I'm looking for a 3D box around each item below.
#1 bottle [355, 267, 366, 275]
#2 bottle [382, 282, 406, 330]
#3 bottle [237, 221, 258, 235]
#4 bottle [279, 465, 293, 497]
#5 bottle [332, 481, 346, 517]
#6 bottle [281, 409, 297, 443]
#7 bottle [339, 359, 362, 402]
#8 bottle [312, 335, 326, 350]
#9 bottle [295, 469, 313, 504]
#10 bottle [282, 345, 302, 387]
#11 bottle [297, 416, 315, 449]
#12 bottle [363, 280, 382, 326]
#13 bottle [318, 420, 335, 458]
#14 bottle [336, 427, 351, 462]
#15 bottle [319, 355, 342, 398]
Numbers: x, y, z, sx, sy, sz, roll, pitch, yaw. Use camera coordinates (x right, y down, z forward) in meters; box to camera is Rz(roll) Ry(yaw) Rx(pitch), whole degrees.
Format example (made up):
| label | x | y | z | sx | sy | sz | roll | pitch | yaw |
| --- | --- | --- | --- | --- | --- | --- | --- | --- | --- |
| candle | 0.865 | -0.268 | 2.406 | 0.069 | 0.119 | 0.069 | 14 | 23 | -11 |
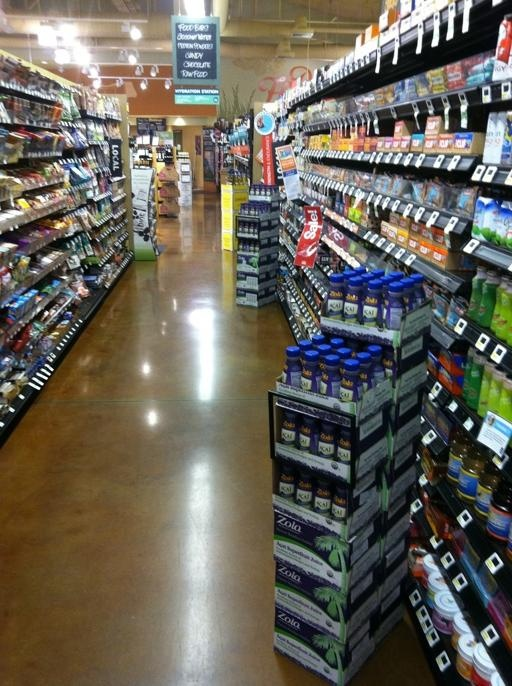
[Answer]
| label | x | y | z | sx | sy | sz | roll | pitch | yaw |
| --- | --- | --- | --- | --- | --- | --- | --- | --- | --- |
| bottle | 0.381 | -0.268 | 1.696 | 0.039 | 0.024 | 0.040 | -6 | 18 | 2 |
| bottle | 0.419 | -0.111 | 1.395 | 0.058 | 0.138 | 0.154 | 5 | 14 | 17 |
| bottle | -0.107 | -1.513 | 6.039 | 0.163 | 0.153 | 0.078 | 4 | 23 | 7 |
| bottle | 0.089 | 0.422 | 1.400 | 0.052 | 0.104 | 0.019 | 6 | 14 | 22 |
| bottle | 0.232 | 0.437 | 1.288 | 0.033 | 0.113 | 0.053 | -1 | 13 | -8 |
| bottle | 0.093 | 0.247 | 1.343 | 0.057 | 0.098 | 0.022 | 11 | 17 | 38 |
| bottle | 0.252 | 0.105 | 1.236 | 0.055 | 0.103 | 0.160 | 3 | 14 | 10 |
| bottle | 0.192 | -0.002 | 1.425 | 0.039 | 0.038 | 0.040 | -1 | 10 | 1 |
| bottle | 0.137 | 0.433 | 1.373 | 0.027 | 0.110 | 0.060 | -12 | 18 | -42 |
| bottle | 0.105 | 0.068 | 1.353 | 0.053 | 0.113 | 0.142 | 1 | 13 | 4 |
| bottle | 0.139 | 0.255 | 1.309 | 0.027 | 0.101 | 0.068 | -5 | 14 | -25 |
| bottle | 0.364 | -0.127 | 1.455 | 0.058 | 0.139 | 0.134 | 4 | 14 | 14 |
| bottle | 0.191 | 0.264 | 1.260 | 0.054 | 0.103 | 0.041 | 7 | 14 | 26 |
| bottle | 0.230 | 0.272 | 1.220 | 0.018 | 0.096 | 0.049 | -6 | 15 | -28 |
| bottle | 0.205 | 0.091 | 1.287 | 0.054 | 0.116 | 0.057 | 1 | 13 | 0 |
